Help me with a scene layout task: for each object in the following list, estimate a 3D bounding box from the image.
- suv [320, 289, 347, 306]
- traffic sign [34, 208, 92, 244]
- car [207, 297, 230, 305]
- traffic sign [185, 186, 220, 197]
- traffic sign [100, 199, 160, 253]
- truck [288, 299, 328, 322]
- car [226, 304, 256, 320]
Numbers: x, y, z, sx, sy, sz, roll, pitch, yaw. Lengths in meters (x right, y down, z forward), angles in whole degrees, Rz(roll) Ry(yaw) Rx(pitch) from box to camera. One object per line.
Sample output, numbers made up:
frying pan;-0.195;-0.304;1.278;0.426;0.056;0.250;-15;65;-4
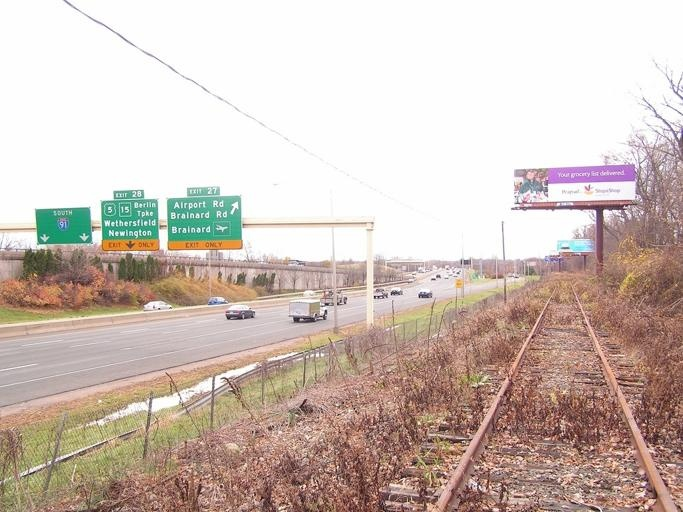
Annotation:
suv;-0.944;4.408;67.039;2.175;1.830;3.537;0;-7;1
traffic sign;-12.902;-1.503;26.457;2.406;1.963;0.041;0;1;6
car;-14.251;5.062;65.084;1.939;1.059;1.300;-3;5;-32
traffic sign;-6.484;-2.984;26.516;1.727;0.497;0.573;-2;-2;25
traffic sign;-9.932;-1.591;26.811;0.088;2.840;2.842;9;10;44
truck;-2.532;4.286;45.628;1.446;1.320;2.898;-1;0;19
car;-8.855;4.722;48.916;1.556;1.162;2.545;-2;-3;40
